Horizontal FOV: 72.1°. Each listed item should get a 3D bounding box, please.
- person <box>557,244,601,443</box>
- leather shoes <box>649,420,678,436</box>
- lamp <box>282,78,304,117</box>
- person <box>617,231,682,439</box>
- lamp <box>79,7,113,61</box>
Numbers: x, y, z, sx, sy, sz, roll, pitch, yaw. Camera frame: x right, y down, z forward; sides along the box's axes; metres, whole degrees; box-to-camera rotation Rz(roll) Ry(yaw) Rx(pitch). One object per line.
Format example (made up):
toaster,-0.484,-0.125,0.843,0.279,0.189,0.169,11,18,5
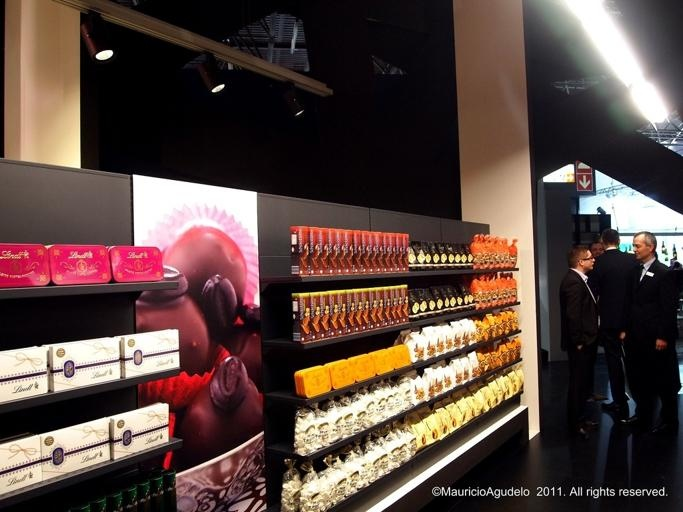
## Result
person,2.814,0.923,5.549,0.389,2.265,1.035,-4,-1,27
leather shoes,3.565,1.873,5.180,0.241,0.085,0.477,-5,-1,37
lamp,-0.552,-1.822,5.437,0.073,0.337,0.241,-1,15,34
person,3.535,0.820,5.381,0.530,2.521,0.487,-4,-1,32
lamp,-2.077,-1.880,4.015,0.206,0.336,0.206,-5,-1,45
